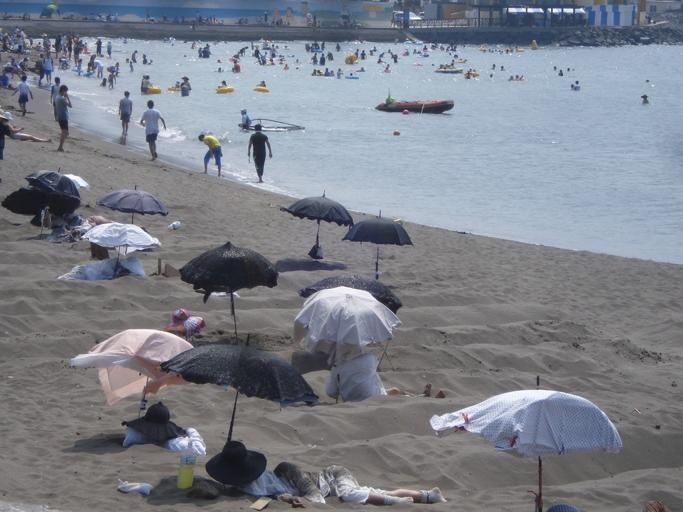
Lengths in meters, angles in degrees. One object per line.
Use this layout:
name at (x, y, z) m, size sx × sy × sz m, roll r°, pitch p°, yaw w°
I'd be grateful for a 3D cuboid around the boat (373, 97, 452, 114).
boat at (3.415, -6.944, 48.985) m, size 2.390 × 0.400 × 1.283 m, roll 1°, pitch 17°, yaw 7°

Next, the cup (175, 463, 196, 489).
cup at (-2.477, 3.494, 16.941) m, size 0.254 × 0.417 × 0.207 m, roll 5°, pitch 9°, yaw -7°

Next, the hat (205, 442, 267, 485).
hat at (-1.683, 3.360, 16.861) m, size 0.814 × 0.287 × 0.791 m, roll 3°, pitch 28°, yaw 0°

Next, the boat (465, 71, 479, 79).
boat at (8.915, -12.565, 73.211) m, size 0.794 × 0.307 × 0.717 m, roll 0°, pitch 8°, yaw -6°

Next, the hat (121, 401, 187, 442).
hat at (-3.107, 2.788, 17.751) m, size 1.035 × 0.622 × 0.379 m, roll 5°, pitch 8°, yaw -2°
